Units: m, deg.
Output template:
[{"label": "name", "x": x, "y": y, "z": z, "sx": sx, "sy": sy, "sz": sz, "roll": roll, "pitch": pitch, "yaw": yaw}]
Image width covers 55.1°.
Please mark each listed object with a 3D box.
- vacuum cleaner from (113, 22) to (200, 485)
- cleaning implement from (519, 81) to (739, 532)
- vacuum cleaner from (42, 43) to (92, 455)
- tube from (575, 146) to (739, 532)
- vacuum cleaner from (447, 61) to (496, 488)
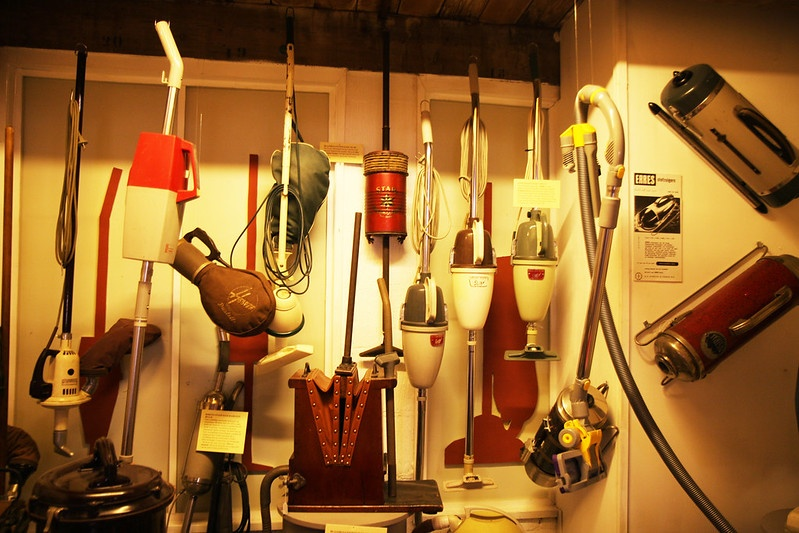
[{"label": "vacuum cleaner", "x": -1.061, "y": -0.114, "z": 3.373, "sx": 0.332, "sy": 1.926, "sz": 0.187, "roll": 0, "pitch": -1, "yaw": -18}, {"label": "cleaning implement", "x": 0.938, "y": 0.141, "z": 3.401, "sx": 0.780, "sy": 1.876, "sz": 0.546, "roll": -1, "pitch": -1, "yaw": 7}, {"label": "vacuum cleaner", "x": -1.504, "y": -0.067, "z": 3.439, "sx": 0.196, "sy": 1.830, "sz": 0.242, "roll": 0, "pitch": -1, "yaw": -24}, {"label": "tube", "x": 1.195, "y": 0.346, "z": 3.498, "sx": 0.230, "sy": 1.811, "sz": 0.189, "roll": -15, "pitch": -6, "yaw": 28}, {"label": "vacuum cleaner", "x": 0.357, "y": 0.021, "z": 3.780, "sx": 0.232, "sy": 2.067, "sz": 0.382, "roll": -1, "pitch": -1, "yaw": 6}]
